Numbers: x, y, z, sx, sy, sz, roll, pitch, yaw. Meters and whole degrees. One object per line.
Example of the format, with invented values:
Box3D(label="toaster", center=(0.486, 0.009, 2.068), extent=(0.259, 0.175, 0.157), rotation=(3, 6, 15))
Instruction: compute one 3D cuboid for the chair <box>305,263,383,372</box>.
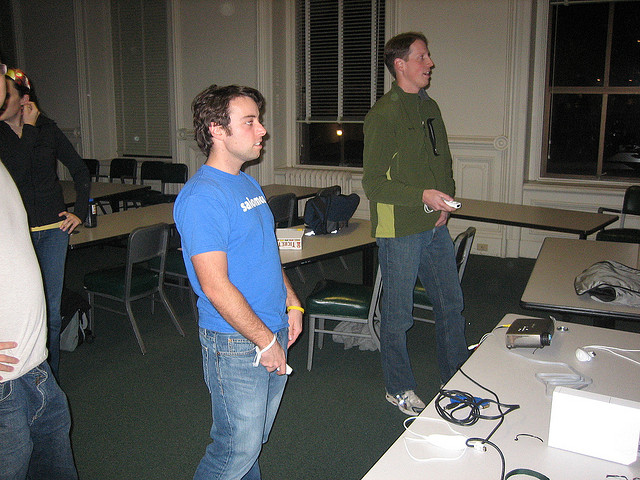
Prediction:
Box3D(label="chair", center=(0.207, 0.433, 3.398), extent=(0.548, 0.895, 0.500), rotation=(2, 13, 13))

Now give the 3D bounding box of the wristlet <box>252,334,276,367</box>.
Box3D(label="wristlet", center=(-0.202, 0.385, 1.648), extent=(0.067, 0.113, 0.022), rotation=(39, 15, 28))

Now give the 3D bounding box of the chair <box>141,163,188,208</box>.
Box3D(label="chair", center=(-2.115, -0.776, 6.461), extent=(0.598, 0.476, 1.116), rotation=(-6, 14, -7))

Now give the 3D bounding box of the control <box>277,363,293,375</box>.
Box3D(label="control", center=(-0.122, 0.477, 1.733), extent=(0.051, 0.016, 0.053), rotation=(9, 10, 35))

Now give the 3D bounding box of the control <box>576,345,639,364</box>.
Box3D(label="control", center=(1.029, 0.414, 1.768), extent=(0.126, 0.040, 0.083), rotation=(1, 12, 0))

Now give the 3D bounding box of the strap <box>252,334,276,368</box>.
Box3D(label="strap", center=(-0.202, 0.382, 1.646), extent=(0.020, 0.113, 0.064), rotation=(24, 7, -37))

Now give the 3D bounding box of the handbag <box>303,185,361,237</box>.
Box3D(label="handbag", center=(0.132, -0.214, 3.904), extent=(0.410, 0.400, 0.271), rotation=(-6, 19, -29))

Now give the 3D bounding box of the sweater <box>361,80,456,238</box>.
Box3D(label="sweater", center=(0.502, -0.446, 2.586), extent=(0.585, 0.817, 0.344), rotation=(-13, 16, -34))

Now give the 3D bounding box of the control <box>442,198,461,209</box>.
Box3D(label="control", center=(0.667, -0.181, 2.384), extent=(0.093, 0.057, 0.102), rotation=(-3, 14, 3))

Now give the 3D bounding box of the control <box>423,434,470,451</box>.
Box3D(label="control", center=(0.371, 0.586, 1.379), extent=(0.083, 0.021, 0.049), rotation=(2, 19, 15))

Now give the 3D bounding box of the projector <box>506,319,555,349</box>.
Box3D(label="projector", center=(0.828, 0.365, 1.874), extent=(0.188, 0.077, 0.165), rotation=(0, 14, 15))

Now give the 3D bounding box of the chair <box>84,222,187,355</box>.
Box3D(label="chair", center=(-1.462, 0.324, 3.742), extent=(0.602, 0.901, 0.553), rotation=(5, 12, 12))

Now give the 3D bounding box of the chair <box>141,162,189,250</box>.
Box3D(label="chair", center=(-2.220, -0.560, 6.370), extent=(0.589, 1.051, 0.593), rotation=(5, 0, -36))
